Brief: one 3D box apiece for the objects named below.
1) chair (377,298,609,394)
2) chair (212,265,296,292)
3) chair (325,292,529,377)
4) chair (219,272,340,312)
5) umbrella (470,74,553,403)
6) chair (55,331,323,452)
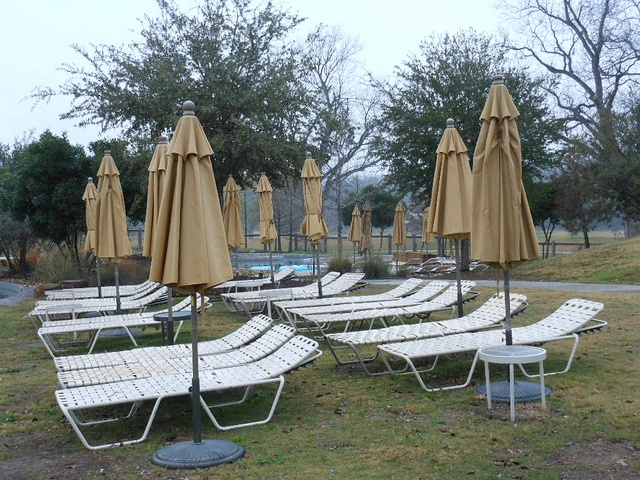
[{"bbox_3d":[2.985,1.561,10.260,4.002,1.037,1.516,-1,-3,-21],"label":"chair"},{"bbox_3d":[-1.671,1.179,18.322,1.767,0.508,0.987,3,-5,-32],"label":"chair"},{"bbox_3d":[1.467,1.525,10.915,4.663,1.372,1.364,-1,0,-24],"label":"chair"},{"bbox_3d":[-0.936,1.351,15.588,2.500,0.724,1.313,2,-5,-28],"label":"chair"},{"bbox_3d":[2.708,-0.360,9.242,0.936,4.064,0.848,-1,12,12],"label":"umbrella"},{"bbox_3d":[-1.654,2.155,8.935,3.825,0.994,1.555,1,-3,-19],"label":"chair"}]
